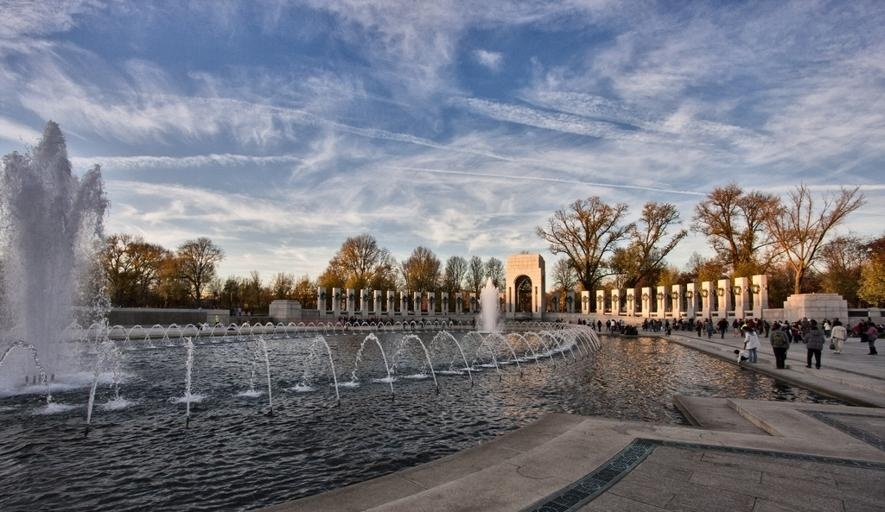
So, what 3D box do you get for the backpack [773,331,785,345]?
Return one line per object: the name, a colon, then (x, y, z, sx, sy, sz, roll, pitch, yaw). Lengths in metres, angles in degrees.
backpack: (14.506, 3.581, 24.275, 0.511, 0.737, 0.434, 1, 0, 41)
